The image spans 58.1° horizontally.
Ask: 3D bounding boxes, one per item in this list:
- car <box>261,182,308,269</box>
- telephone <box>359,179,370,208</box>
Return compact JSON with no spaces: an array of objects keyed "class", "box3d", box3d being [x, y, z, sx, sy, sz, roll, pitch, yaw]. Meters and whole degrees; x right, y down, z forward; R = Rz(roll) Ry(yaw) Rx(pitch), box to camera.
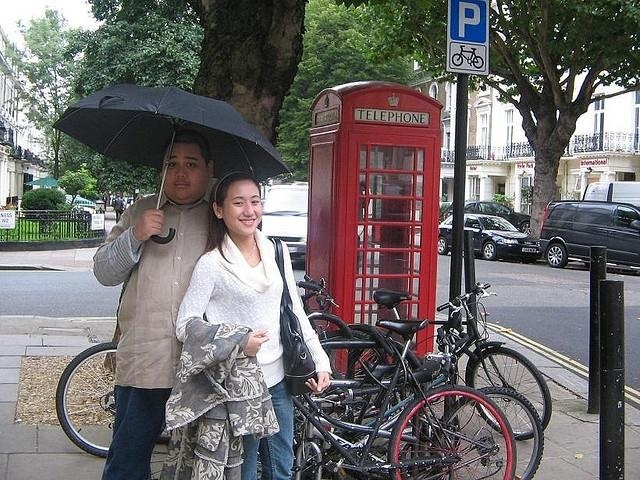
[{"class":"car","box3d":[-0.991,-0.720,16.005,1.254,1.405,2.411,0,-4,-1]},{"class":"telephone","box3d":[0.426,-0.455,5.641,0.048,0.216,0.197,-1,11,8]}]
